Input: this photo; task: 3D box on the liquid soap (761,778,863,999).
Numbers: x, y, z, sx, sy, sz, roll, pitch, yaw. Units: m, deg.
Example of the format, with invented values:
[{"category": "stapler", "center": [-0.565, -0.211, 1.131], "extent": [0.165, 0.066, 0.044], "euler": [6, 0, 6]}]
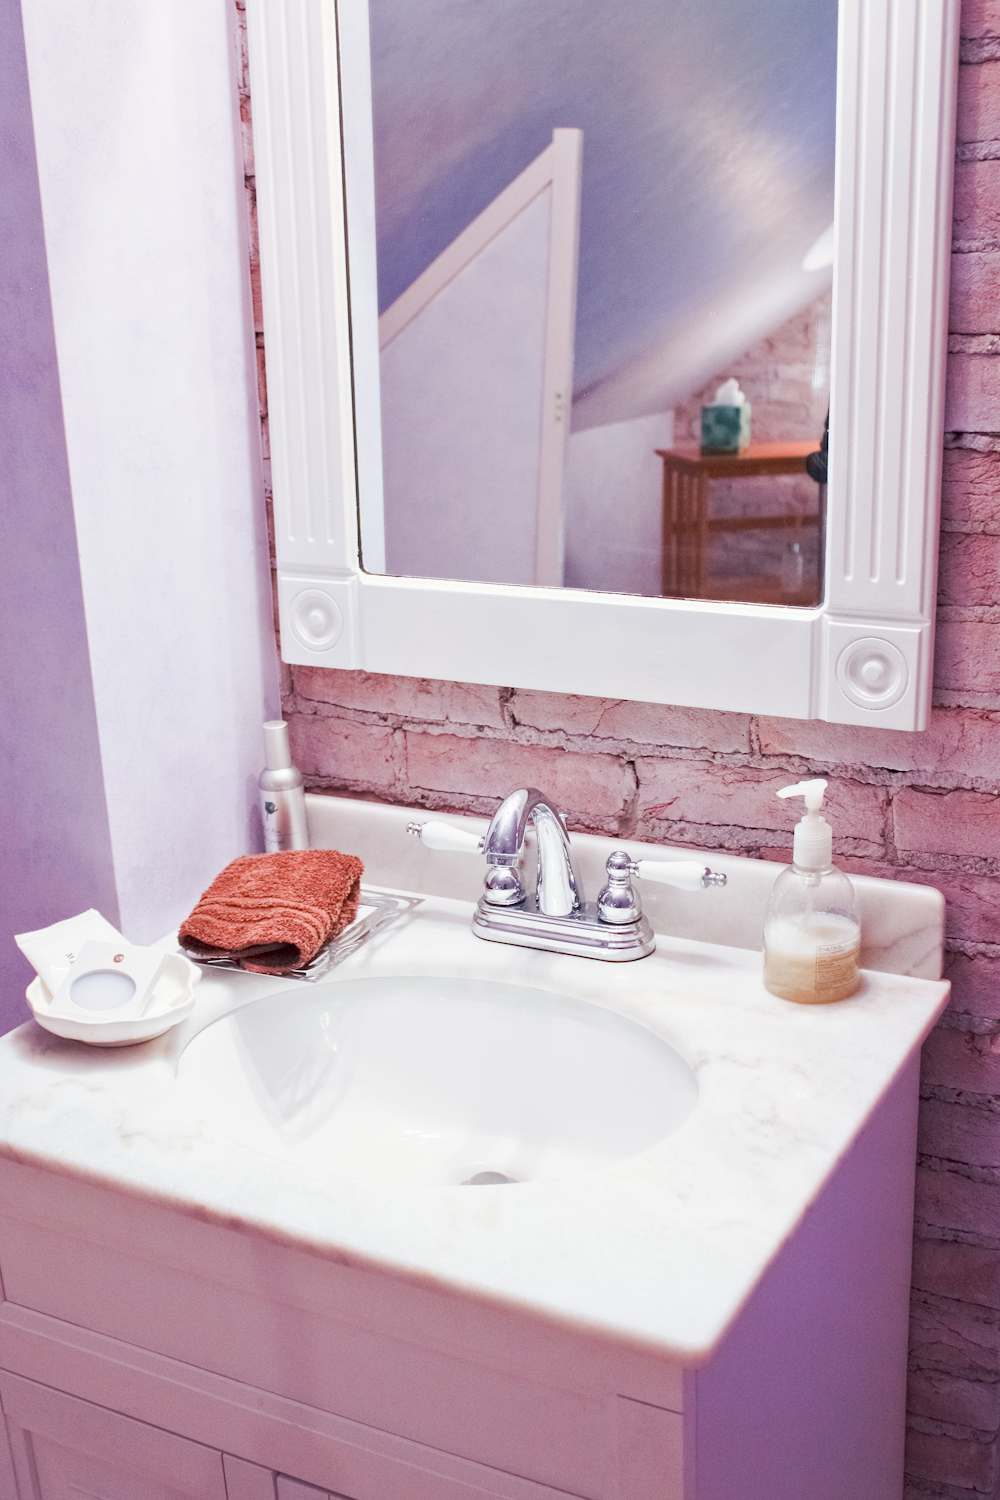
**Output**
[{"category": "liquid soap", "center": [0.243, 0.109, 0.988], "extent": [0.074, 0.167, 0.073], "euler": [3, 15, 23]}]

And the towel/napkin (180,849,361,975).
[{"category": "towel/napkin", "center": [-0.202, 0.142, 1.124], "extent": [0.125, 0.066, 0.150], "euler": [2, 15, 11]}]

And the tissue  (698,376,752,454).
[{"category": "tissue ", "center": [0.177, -0.264, 1.008], "extent": [0.042, 0.057, 0.007], "euler": [12, 20, 39]}]

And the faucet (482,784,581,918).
[{"category": "faucet", "center": [0.026, 0.079, 1.096], "extent": [0.082, 0.124, 0.184], "euler": [-1, 14, 0]}]

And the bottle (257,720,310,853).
[{"category": "bottle", "center": [-0.212, 0.037, 1.252], "extent": [0.044, 0.135, 0.070], "euler": [-3, 15, -9]}]

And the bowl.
[{"category": "bowl", "center": [-0.287, 0.174, 0.948], "extent": [0.085, 0.022, 0.084], "euler": [0, 19, 0]}]
